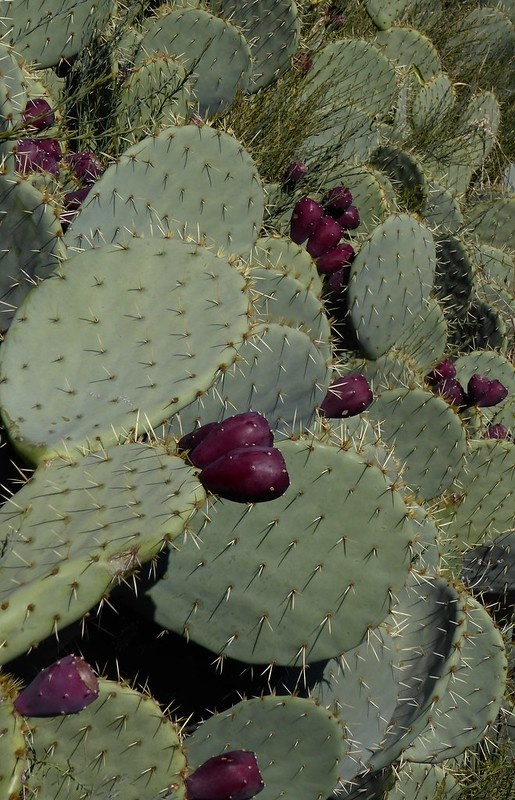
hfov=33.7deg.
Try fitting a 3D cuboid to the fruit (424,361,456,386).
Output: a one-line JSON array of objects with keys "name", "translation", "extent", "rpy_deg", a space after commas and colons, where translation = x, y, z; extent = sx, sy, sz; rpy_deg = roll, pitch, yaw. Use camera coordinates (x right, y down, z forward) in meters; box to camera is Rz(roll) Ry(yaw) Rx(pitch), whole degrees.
[{"name": "fruit", "translation": [0.783, -0.106, 3.685], "extent": [0.071, 0.146, 0.067], "rpy_deg": [1, 64, -54]}]

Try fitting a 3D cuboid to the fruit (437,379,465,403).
[{"name": "fruit", "translation": [0.831, -0.035, 3.637], "extent": [0.107, 0.125, 0.074], "rpy_deg": [-7, 30, 27]}]

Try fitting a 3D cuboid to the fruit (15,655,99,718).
[{"name": "fruit", "translation": [-0.451, 0.645, 1.889], "extent": [0.196, 0.082, 0.121], "rpy_deg": [-24, 47, 5]}]

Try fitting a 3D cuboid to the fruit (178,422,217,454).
[{"name": "fruit", "translation": [-0.151, 0.091, 2.238], "extent": [0.114, 0.063, 0.036], "rpy_deg": [-34, 75, -6]}]

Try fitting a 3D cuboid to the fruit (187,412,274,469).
[{"name": "fruit", "translation": [-0.055, 0.088, 2.067], "extent": [0.197, 0.110, 0.093], "rpy_deg": [-22, 70, -5]}]

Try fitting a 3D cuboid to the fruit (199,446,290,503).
[{"name": "fruit", "translation": [-0.033, 0.146, 2.031], "extent": [0.246, 0.133, 0.151], "rpy_deg": [-7, 7, 4]}]

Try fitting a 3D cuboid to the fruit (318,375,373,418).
[{"name": "fruit", "translation": [0.289, -0.004, 2.799], "extent": [0.175, 0.089, 0.108], "rpy_deg": [-35, 85, 11]}]
